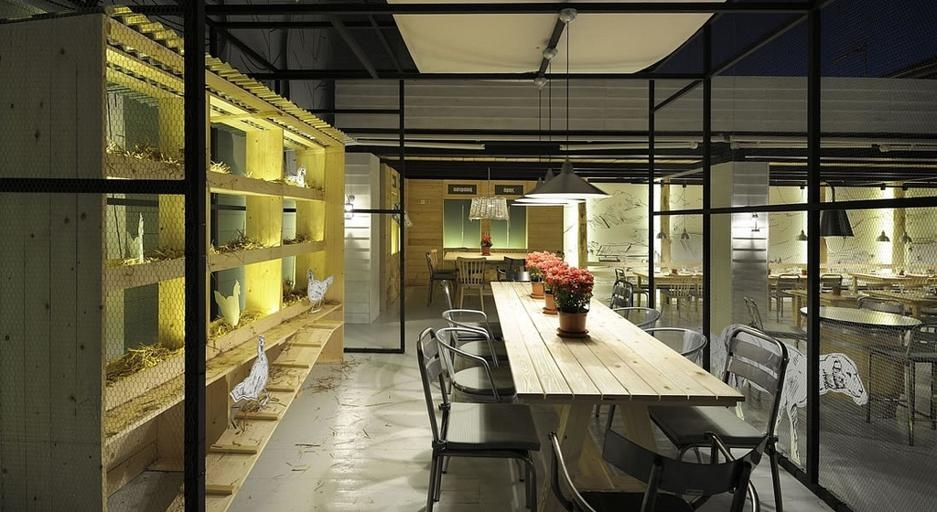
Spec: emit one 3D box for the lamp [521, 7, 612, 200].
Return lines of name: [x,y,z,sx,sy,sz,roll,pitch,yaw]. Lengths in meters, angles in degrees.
lamp: [1.010,-1.411,6.208,0.743,1.688,1.711,0,2,9]

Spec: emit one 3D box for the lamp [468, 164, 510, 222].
lamp: [0.441,-1.313,13.053,1.207,1.290,1.115,0,2,17]

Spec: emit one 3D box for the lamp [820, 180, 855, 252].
lamp: [3.264,-0.392,5.319,0.251,0.493,1.065,1,2,30]

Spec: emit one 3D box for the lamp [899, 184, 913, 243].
lamp: [3.188,-0.301,4.401,0.100,0.433,0.081,-1,2,-31]
